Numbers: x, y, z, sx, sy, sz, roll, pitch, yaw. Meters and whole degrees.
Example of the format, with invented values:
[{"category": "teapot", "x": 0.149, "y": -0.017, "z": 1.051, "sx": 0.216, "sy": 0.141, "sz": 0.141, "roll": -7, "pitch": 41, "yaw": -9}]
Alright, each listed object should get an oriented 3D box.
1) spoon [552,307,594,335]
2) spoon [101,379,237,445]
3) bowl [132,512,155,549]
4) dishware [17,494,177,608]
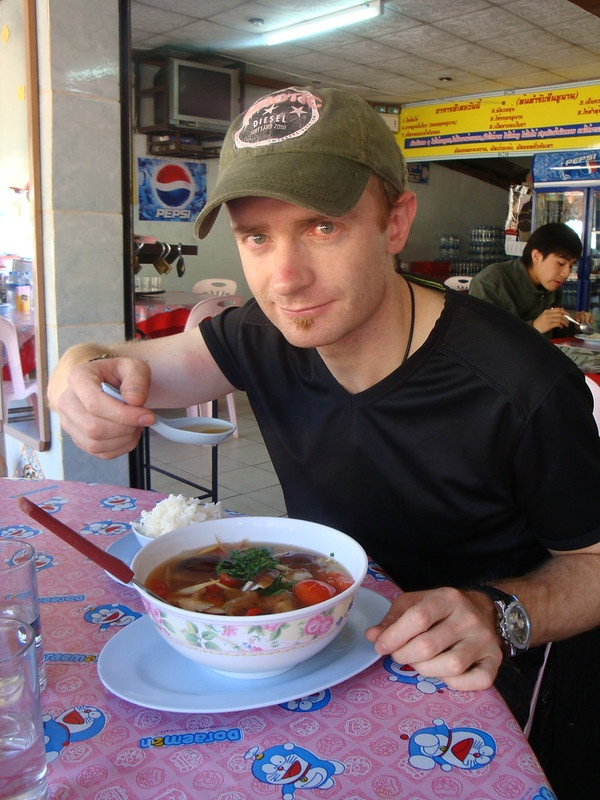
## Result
[{"category": "spoon", "x": 1.890, "y": -0.517, "z": 4.514, "sx": 0.082, "sy": 0.153, "sz": 0.562, "roll": 46, "pitch": 27, "yaw": -8}, {"category": "spoon", "x": -0.311, "y": 0.068, "z": 1.543, "sx": 0.387, "sy": 0.063, "sz": 0.131, "roll": 22, "pitch": 18, "yaw": 35}, {"category": "bowl", "x": -0.254, "y": 0.215, "z": 1.066, "sx": 0.048, "sy": 0.027, "sz": 0.044, "roll": 0, "pitch": 28, "yaw": 0}, {"category": "dishware", "x": -0.307, "y": 0.232, "z": 0.986, "sx": 0.283, "sy": 0.026, "sz": 0.031, "roll": 31, "pitch": 6, "yaw": 13}]
